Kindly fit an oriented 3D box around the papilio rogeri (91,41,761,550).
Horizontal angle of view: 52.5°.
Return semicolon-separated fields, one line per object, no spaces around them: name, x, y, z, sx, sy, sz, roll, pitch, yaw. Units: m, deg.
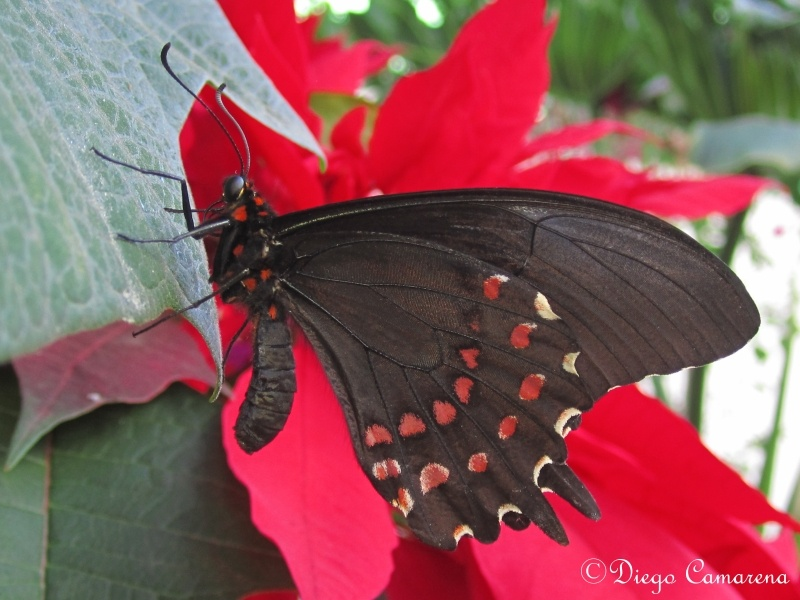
papilio rogeri;0.013;0.036;0.810;0.451;0.389;0.249;22;82;-13
